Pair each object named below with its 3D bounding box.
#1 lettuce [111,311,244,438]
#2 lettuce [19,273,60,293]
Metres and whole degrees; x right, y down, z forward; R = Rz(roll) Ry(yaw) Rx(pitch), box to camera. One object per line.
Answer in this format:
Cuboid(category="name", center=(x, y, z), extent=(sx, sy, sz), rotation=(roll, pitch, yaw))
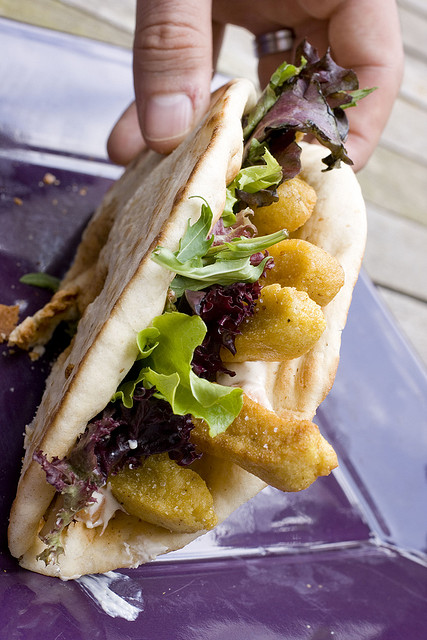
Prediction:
Cuboid(category="lettuce", center=(-0.057, 0.088, 0.931), extent=(0.070, 0.193, 0.207), rotation=(-19, 44, -40))
Cuboid(category="lettuce", center=(-0.432, -0.092, 1.591), extent=(0.106, 0.025, 0.030), rotation=(10, 24, -48))
